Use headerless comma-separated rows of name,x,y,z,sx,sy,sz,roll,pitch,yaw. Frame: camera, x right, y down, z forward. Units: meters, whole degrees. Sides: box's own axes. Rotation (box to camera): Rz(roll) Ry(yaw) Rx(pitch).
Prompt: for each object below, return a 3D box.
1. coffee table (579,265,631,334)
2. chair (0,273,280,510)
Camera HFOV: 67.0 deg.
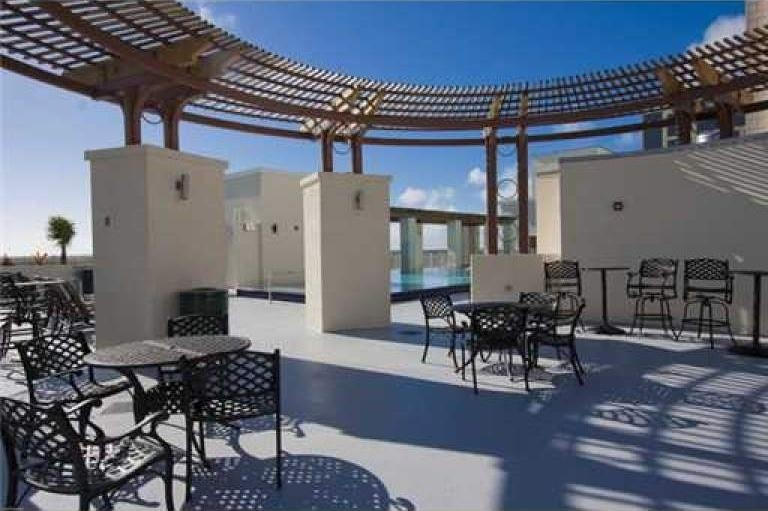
coffee table,4.218,0.885,11.085,0.832,1.092,0.845,-6,-7,44
chair,-2.388,1.759,6.079,2.512,1.506,1.504,-8,16,-26
